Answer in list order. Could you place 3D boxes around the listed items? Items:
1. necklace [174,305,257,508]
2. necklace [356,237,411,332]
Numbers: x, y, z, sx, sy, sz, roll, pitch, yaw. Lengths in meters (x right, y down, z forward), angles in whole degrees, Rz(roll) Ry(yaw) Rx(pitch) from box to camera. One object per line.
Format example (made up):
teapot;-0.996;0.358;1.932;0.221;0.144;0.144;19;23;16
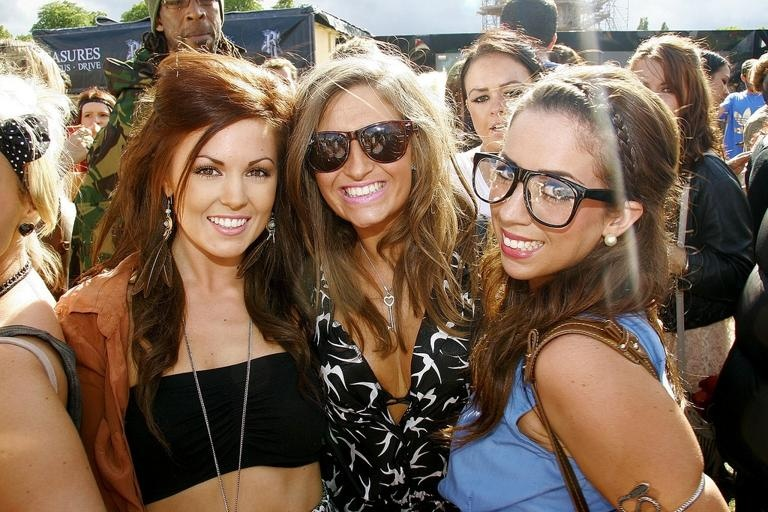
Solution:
necklace;-0.862;0.875;3.758;0.383;0.923;0.450;-6;15;-17
necklace;-0.024;0.153;4.152;0.124;0.644;0.091;-12;-25;-1
